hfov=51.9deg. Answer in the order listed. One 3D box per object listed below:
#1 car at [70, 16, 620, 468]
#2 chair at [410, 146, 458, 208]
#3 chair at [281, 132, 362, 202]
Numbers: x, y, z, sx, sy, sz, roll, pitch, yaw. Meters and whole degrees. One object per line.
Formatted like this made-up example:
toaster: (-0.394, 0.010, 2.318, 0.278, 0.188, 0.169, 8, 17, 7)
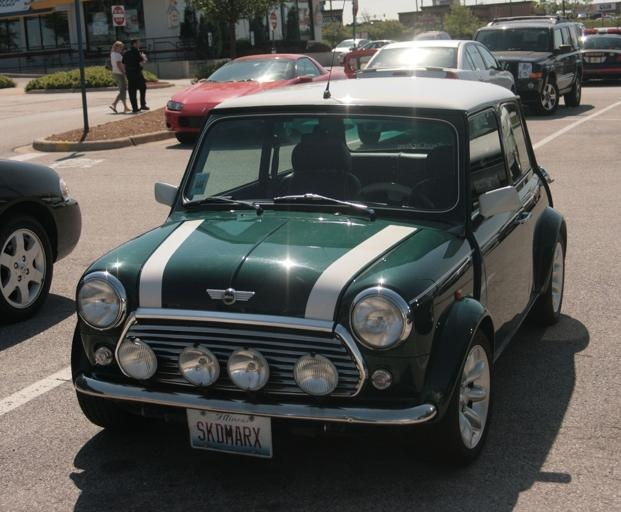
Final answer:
car: (0.167, -0.073, 3.639, 1.873, 1.858, 2.636, 8, 17, 33)
chair: (0.724, -0.461, 3.608, 0.269, 0.376, 0.326, 5, 26, 22)
chair: (0.010, -0.436, 4.022, 0.472, 0.598, 0.549, -2, 4, -18)
